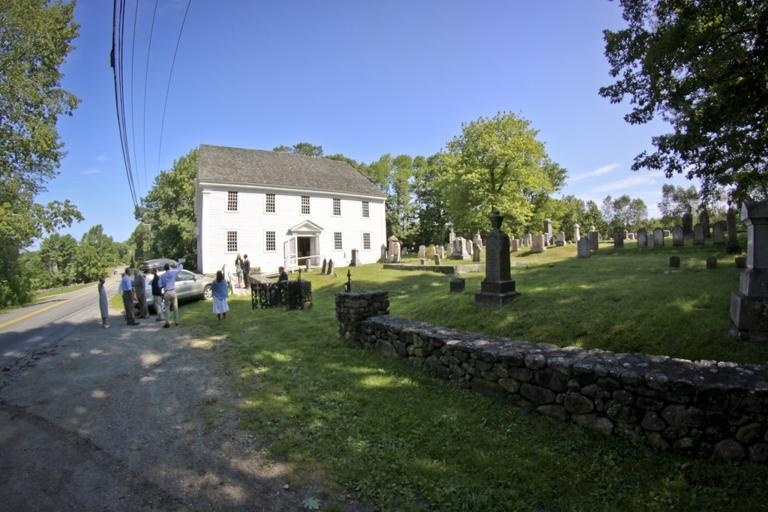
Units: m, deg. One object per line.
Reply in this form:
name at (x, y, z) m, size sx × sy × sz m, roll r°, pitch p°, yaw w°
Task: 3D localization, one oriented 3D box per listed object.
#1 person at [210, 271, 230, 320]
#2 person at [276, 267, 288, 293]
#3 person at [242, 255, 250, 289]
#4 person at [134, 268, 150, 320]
person at (-6.342, 1.444, 17.559) m, size 0.531 × 1.732 × 1.292 m, roll -5°, pitch 2°, yaw -22°
person at (-4.582, 0.952, 20.398) m, size 0.441 × 0.904 × 1.508 m, roll -4°, pitch 1°, yaw -13°
person at (-8.352, 0.887, 27.505) m, size 0.382 × 1.714 × 1.563 m, roll -4°, pitch 2°, yaw -19°
person at (-10.407, 1.652, 19.524) m, size 0.621 × 2.371 × 0.913 m, roll -7°, pitch 33°, yaw -21°
